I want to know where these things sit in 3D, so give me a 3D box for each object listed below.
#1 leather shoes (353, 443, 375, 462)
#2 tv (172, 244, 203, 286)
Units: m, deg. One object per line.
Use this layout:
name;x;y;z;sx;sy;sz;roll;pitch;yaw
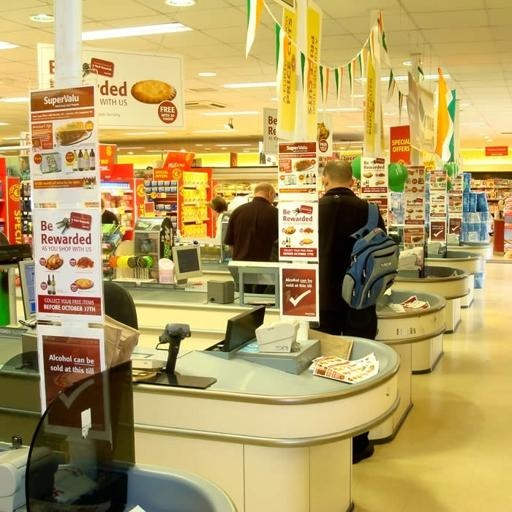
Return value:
leather shoes;0.759;1.368;3.285;0.250;0.091;0.057;-3;8;-41
tv;-0.655;0.086;4.355;0.177;0.351;0.320;7;13;37
